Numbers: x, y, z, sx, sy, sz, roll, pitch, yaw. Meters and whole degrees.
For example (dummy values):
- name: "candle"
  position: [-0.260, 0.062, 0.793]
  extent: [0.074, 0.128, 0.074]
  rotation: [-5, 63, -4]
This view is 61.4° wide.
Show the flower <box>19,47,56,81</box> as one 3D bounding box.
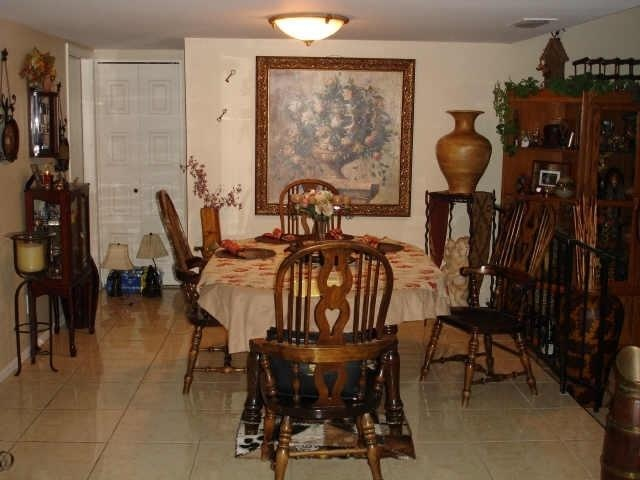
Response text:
- name: "flower"
  position: [-2.395, -1.510, 4.611]
  extent: [0.228, 0.312, 0.550]
  rotation: [-3, 13, -17]

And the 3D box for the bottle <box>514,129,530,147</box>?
- name: "bottle"
  position: [1.900, -0.951, 5.055]
  extent: [0.107, 0.143, 0.042]
  rotation: [-15, -20, 38]

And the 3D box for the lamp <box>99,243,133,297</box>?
- name: "lamp"
  position: [-2.242, 0.325, 6.009]
  extent: [0.310, 0.594, 0.391]
  rotation: [-3, 13, -14]

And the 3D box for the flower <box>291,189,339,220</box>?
- name: "flower"
  position: [-0.036, -0.259, 3.822]
  extent: [0.338, 0.208, 0.412]
  rotation: [1, 13, 1]

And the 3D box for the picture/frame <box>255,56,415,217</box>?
- name: "picture/frame"
  position: [0.103, -1.113, 5.339]
  extent: [1.670, 1.660, 0.077]
  rotation: [0, 8, 0]

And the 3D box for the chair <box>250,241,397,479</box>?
- name: "chair"
  position: [0.016, 0.624, 2.972]
  extent: [0.788, 1.416, 0.765]
  rotation: [2, 13, 7]

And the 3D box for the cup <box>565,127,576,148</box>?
- name: "cup"
  position: [2.214, -0.882, 4.757]
  extent: [0.054, 0.234, 0.066]
  rotation: [19, 7, 27]

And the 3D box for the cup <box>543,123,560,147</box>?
- name: "cup"
  position: [2.087, -0.944, 4.850]
  extent: [0.183, 0.207, 0.181]
  rotation: [0, 4, 0]
